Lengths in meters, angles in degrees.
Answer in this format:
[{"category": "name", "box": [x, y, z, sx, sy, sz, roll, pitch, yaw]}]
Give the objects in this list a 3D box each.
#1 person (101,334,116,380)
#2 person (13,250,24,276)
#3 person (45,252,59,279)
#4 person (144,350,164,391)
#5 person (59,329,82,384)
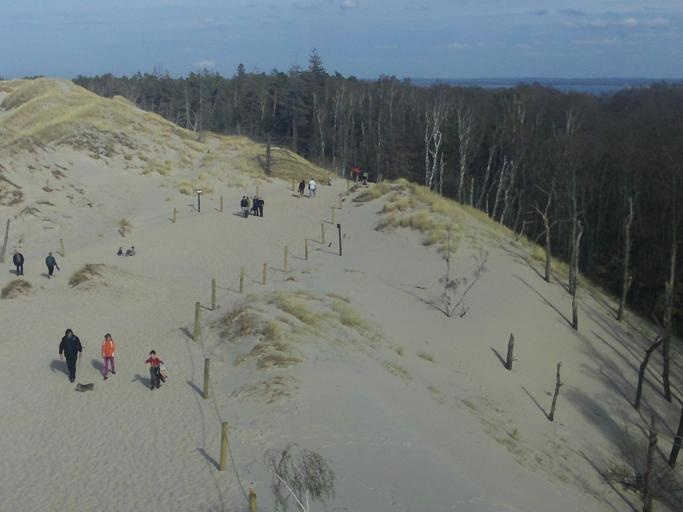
[{"category": "person", "box": [-12.404, 5.081, 41.535, 0.627, 2.449, 1.362, -4, 21, -15]}, {"category": "person", "box": [-20.389, 0.436, 49.322, 0.530, 1.583, 1.363, -8, 22, -23]}, {"category": "person", "box": [-18.563, 0.256, 50.209, 0.735, 1.557, 2.706, -6, 23, -21]}, {"category": "person", "box": [-9.678, 5.793, 40.693, 0.758, 2.217, 0.759, -5, 20, -16]}, {"category": "person", "box": [-14.165, 5.072, 40.959, 1.035, 2.845, 0.758, -1, 25, -16]}]
